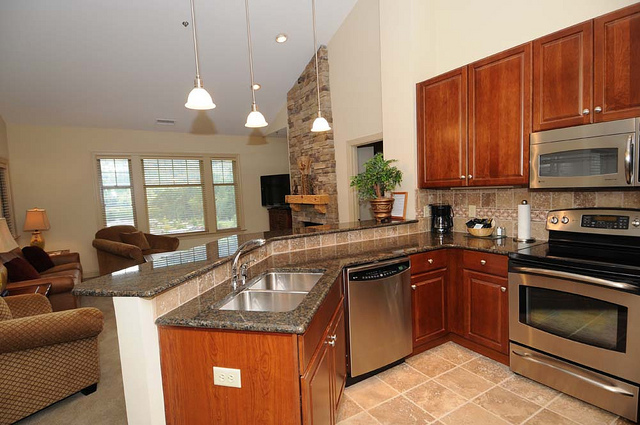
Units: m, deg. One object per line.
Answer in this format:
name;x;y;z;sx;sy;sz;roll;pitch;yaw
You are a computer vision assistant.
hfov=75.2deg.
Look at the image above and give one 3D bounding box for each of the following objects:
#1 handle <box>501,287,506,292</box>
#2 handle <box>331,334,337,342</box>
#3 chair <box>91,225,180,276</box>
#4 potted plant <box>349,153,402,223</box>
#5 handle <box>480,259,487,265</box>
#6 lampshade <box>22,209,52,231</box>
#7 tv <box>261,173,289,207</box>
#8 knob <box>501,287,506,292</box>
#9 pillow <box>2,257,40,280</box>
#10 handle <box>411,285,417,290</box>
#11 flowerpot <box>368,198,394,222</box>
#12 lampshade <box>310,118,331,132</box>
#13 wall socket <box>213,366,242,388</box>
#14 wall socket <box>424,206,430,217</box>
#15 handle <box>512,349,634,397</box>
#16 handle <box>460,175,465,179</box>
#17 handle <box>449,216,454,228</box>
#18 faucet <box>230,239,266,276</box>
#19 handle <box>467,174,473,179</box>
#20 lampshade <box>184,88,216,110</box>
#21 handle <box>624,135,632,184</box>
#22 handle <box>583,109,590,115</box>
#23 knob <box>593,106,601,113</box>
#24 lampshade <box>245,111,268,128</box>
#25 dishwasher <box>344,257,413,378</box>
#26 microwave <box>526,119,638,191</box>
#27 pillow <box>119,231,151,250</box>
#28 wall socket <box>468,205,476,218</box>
handle;1.846;0.776;4.199;0.039;0.032;0.036;-3;-2;18
handle;0.119;1.111;3.671;0.060;0.016;0.058;4;7;33
chair;-3.090;0.677;6.888;1.134;0.864;1.211;-5;8;-41
potted plant;0.686;-0.292;5.065;0.581;0.809;0.294;-4;5;4
handle;1.691;0.516;4.323;0.057;0.055;0.014;5;-3;36
lampshade;-4.504;0.080;6.685;0.360;0.394;0.358;-5;11;-40
tv;-0.964;-0.442;8.581;0.087;0.640;0.940;1;5;34
knob;1.846;0.776;4.202;0.039;0.050;0.023;-4;1;42
pillow;-3.662;0.705;5.121;0.087;0.297;0.280;-41;23;-6
handle;0.981;0.788;4.391;0.055;0.018;0.077;0;0;13
flowerpot;0.746;-0.021;4.971;0.277;0.201;0.270;-1;0;-4
lampshade;-0.013;-0.975;4.638;0.161;0.090;0.158;-10;14;-28
wall socket;-0.701;1.253;3.166;0.181;0.117;0.020;0;3;10
wall socket;1.313;-0.016;5.153;0.121;0.116;0.013;-5;6;-38
handle;2.322;1.496;3.895;0.968;0.282;0.026;-2;6;35
handle;1.610;-0.401;4.707;0.055;0.040;0.042;3;8;30
handle;1.621;0.113;5.152;0.027;0.143;0.126;-3;5;24
faucet;-0.666;0.404;3.751;0.299;0.320;0.309;-6;4;-14
handle;1.677;-0.402;4.656;0.009;0.039;0.040;4;9;-44
lampshade;-1.101;-1.039;3.771;0.225;0.208;0.218;-6;4;-18
handle;2.790;-0.478;3.774;0.063;0.436;0.023;-5;5;1
handle;2.520;-0.958;3.947;0.057;0.018;0.059;0;11;13
knob;2.592;-0.968;3.896;0.041;0.051;0.024;28;-10;44
lampshade;-0.665;-0.938;4.267;0.188;0.115;0.183;-7;13;-14
dishwasher;0.601;1.047;4.241;0.791;1.103;0.142;-7;5;-29
microwave;2.611;-0.513;4.037;0.587;0.593;0.953;-2;3;-41
pillow;-3.102;0.484;6.875;0.475;0.308;0.381;-5;4;-7
wall socket;1.829;-0.017;5.039;0.097;0.145;0.020;-1;6;41
